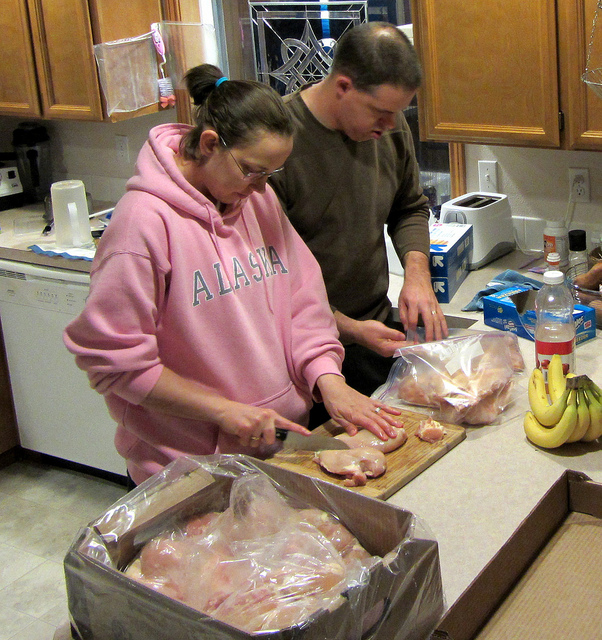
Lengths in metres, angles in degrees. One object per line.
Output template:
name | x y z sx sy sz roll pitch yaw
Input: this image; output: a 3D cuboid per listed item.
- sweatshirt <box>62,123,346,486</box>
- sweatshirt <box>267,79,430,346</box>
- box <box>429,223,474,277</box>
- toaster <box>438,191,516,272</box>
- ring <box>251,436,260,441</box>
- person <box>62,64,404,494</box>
sweatshirt | -0.186 -0.005 1.180 0.605 0.727 0.474 -12 19 -33
sweatshirt | 0.187 -0.305 1.620 0.591 0.743 0.379 -15 30 -17
box | 0.549 -0.260 1.937 0.168 0.161 0.155 17 33 28
toaster | 0.763 -0.389 2.255 0.366 0.233 0.195 -24 26 -38
ring | -0.089 0.231 1.032 0.012 0.005 0.015 7 0 -2
person | -0.148 -0.118 1.140 0.647 0.825 0.431 -7 15 -1
